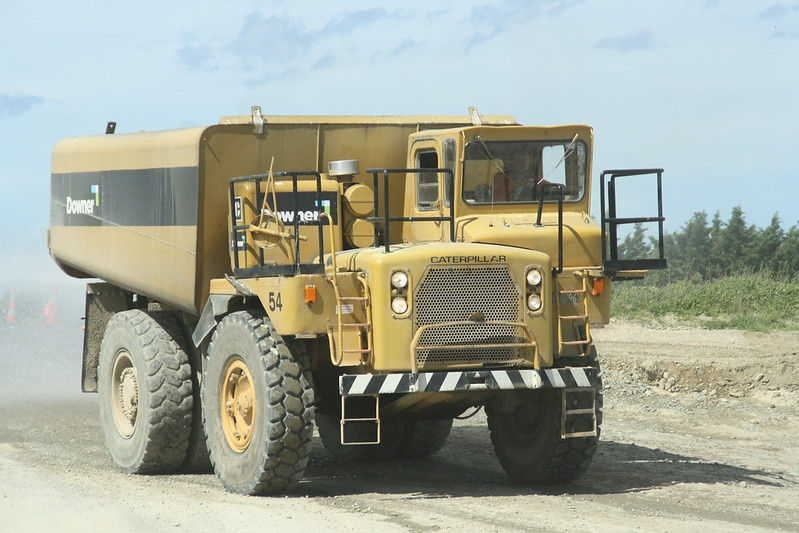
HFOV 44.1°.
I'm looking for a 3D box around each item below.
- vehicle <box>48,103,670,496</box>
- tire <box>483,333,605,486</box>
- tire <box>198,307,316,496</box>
[{"bbox_3d":[-1.423,0.318,14.215,4.240,4.826,8.303,2,-5,-27],"label":"vehicle"},{"bbox_3d":[1.747,1.724,11.973,0.533,1.953,1.697,3,-3,-33],"label":"tire"},{"bbox_3d":[-1.776,1.694,12.011,0.557,2.213,1.953,3,-10,-36],"label":"tire"}]
